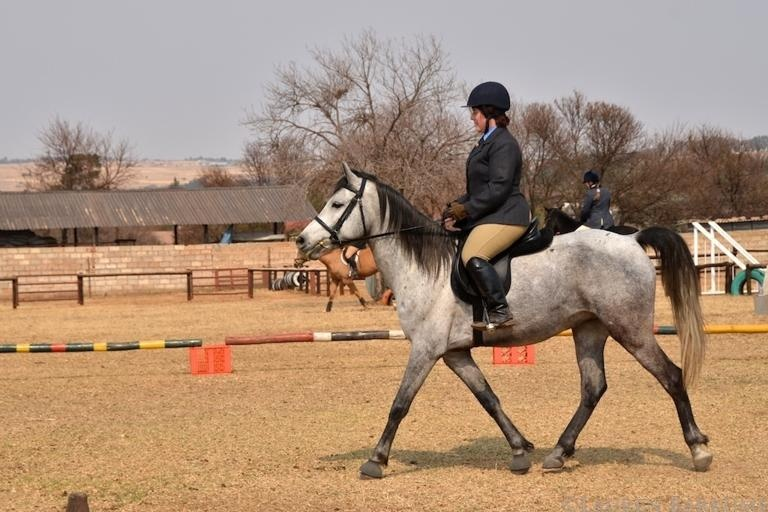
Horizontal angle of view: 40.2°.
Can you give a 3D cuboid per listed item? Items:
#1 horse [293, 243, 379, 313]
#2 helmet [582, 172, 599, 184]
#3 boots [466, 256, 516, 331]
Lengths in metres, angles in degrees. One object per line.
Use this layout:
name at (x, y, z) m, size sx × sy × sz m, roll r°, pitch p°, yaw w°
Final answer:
horse at (-0.913, 0.423, 27.648) m, size 0.885 × 2.035 × 3.707 m, roll -12°, pitch -9°, yaw 31°
helmet at (3.860, -1.482, 19.714) m, size 0.225 × 0.166 × 0.287 m, roll -12°, pitch 20°, yaw -25°
boots at (1.485, 0.534, 14.683) m, size 0.614 × 1.024 × 0.286 m, roll -1°, pitch 12°, yaw 2°
